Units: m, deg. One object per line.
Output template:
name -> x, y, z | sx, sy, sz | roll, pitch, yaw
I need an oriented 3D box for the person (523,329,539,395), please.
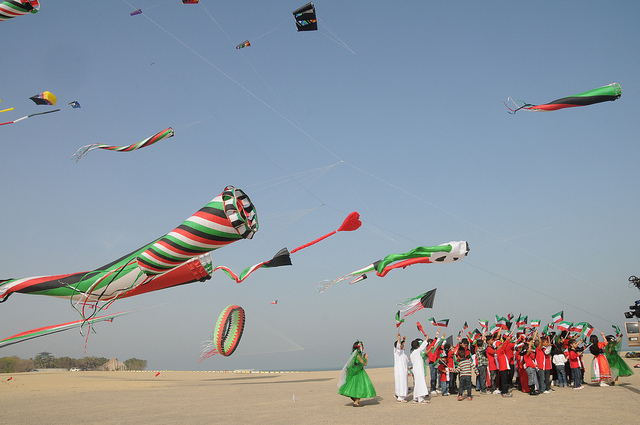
person -> 10.203, 7.298, 21.977 | 0.694, 2.864, 1.503 | -7, -30, 22

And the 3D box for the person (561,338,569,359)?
person -> 12.695, 7.084, 23.536 | 0.335, 0.909, 0.648 | -9, -31, 25

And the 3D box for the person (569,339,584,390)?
person -> 12.934, 7.747, 23.010 | 0.562, 2.287, 0.952 | -8, -31, 24

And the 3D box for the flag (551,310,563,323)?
flag -> 13.534, 6.053, 25.831 | 0.415, 0.512, 0.902 | -1, -29, 11

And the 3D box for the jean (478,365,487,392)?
jean -> 8.311, 8.592, 23.237 | 0.472, 1.233, 1.029 | -4, -30, 18

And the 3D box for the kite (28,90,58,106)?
kite -> -11.984, -4.783, 19.546 | 0.794, 0.740, 0.667 | -13, -33, 31

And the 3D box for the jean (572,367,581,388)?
jean -> 12.936, 8.391, 22.865 | 0.352, 0.935, 0.594 | -3, -29, 15

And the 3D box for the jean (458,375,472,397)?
jean -> 6.762, 8.211, 21.250 | 0.551, 0.892, 0.895 | -1, -29, 12

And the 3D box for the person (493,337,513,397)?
person -> 8.895, 7.525, 22.141 | 0.734, 2.877, 0.958 | -6, -30, 21

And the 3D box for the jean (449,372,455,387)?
jean -> 6.976, 8.996, 24.165 | 0.286, 0.685, 0.530 | -2, -29, 14

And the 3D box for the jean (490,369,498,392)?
jean -> 8.763, 8.585, 22.894 | 0.383, 0.981, 1.079 | -5, -30, 18

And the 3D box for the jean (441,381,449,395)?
jean -> 6.435, 9.173, 23.533 | 0.388, 0.719, 0.834 | -4, -29, 17

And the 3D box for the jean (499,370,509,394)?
jean -> 8.885, 8.259, 21.917 | 0.366, 1.057, 0.532 | -5, -30, 19

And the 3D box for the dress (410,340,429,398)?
dress -> 4.711, 7.571, 21.700 | 0.490, 2.552, 1.033 | 24, -33, -30

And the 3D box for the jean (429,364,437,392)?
jean -> 6.096, 9.110, 24.594 | 0.395, 1.433, 1.095 | -2, -29, 13

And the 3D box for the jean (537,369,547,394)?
jean -> 10.902, 8.359, 22.332 | 0.316, 1.020, 0.475 | -8, -31, 23

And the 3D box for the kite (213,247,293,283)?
kite -> -3.012, 2.394, 19.966 | 4.190, 1.093, 0.903 | -2, -8, -42

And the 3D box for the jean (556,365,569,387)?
jean -> 12.647, 8.648, 23.688 | 0.468, 1.051, 1.211 | -9, -31, 25

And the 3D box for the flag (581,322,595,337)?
flag -> 14.500, 6.460, 24.571 | 0.443, 0.857, 0.956 | -2, -29, 13

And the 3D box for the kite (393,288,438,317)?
kite -> 4.840, 4.502, 22.527 | 1.436, 1.538, 1.855 | -4, -29, 16

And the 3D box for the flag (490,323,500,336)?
flag -> 9.087, 6.289, 24.051 | 0.584, 0.592, 0.512 | 22, -32, -29

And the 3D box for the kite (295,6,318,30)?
kite -> -0.683, -8.345, 19.468 | 0.880, 0.547, 0.870 | 0, -28, 10
